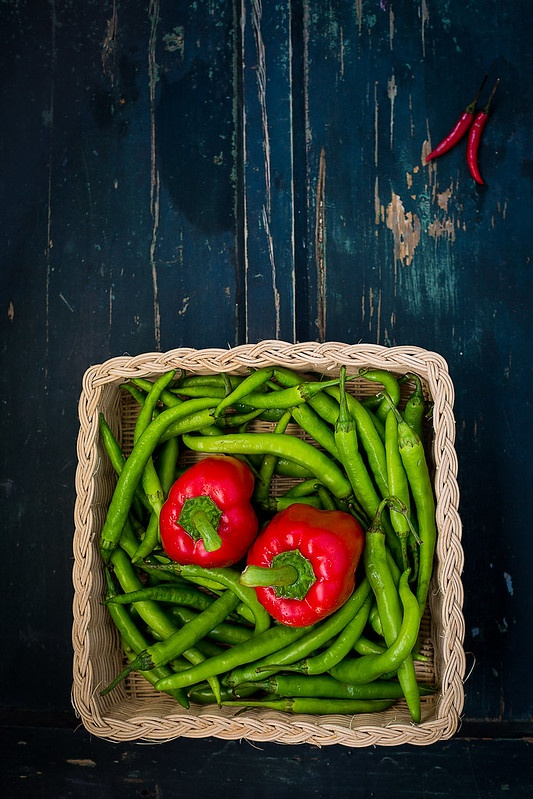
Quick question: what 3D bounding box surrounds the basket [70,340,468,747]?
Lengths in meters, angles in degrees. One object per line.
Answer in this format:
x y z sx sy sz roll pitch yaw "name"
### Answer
-0.005 0.317 1.865 0.826 0.326 0.854 0 81 2 "basket"
